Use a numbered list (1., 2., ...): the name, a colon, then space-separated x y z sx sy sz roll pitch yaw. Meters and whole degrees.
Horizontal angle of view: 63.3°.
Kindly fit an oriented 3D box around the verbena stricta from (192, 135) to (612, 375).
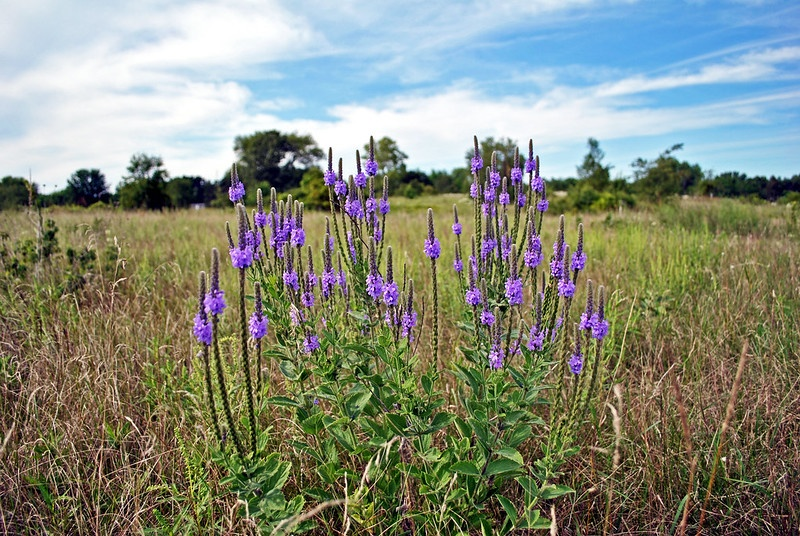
1. verbena stricta: 0.104 0.202 7.140 4.037 1.820 2.484 1 32 1
